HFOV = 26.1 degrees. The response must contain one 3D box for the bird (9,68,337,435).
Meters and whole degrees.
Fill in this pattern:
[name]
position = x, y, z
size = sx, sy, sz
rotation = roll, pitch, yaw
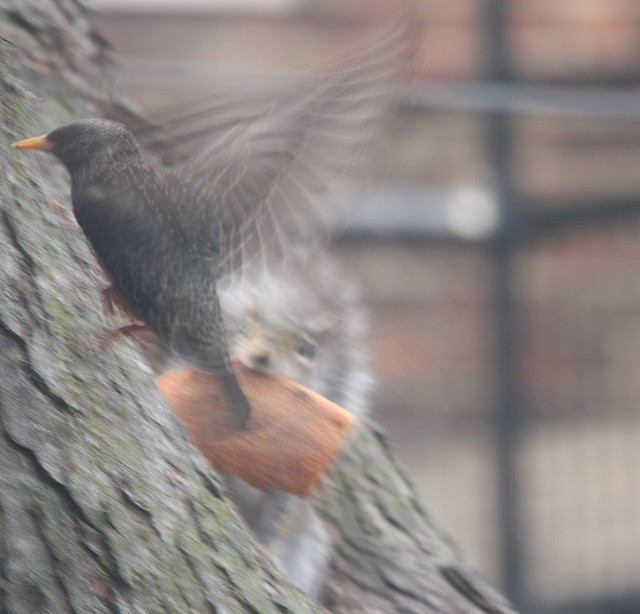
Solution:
[bird]
position = -0.149, -0.106, 1.781
size = 0.424, 0.278, 0.406
rotation = 37, 14, -9
